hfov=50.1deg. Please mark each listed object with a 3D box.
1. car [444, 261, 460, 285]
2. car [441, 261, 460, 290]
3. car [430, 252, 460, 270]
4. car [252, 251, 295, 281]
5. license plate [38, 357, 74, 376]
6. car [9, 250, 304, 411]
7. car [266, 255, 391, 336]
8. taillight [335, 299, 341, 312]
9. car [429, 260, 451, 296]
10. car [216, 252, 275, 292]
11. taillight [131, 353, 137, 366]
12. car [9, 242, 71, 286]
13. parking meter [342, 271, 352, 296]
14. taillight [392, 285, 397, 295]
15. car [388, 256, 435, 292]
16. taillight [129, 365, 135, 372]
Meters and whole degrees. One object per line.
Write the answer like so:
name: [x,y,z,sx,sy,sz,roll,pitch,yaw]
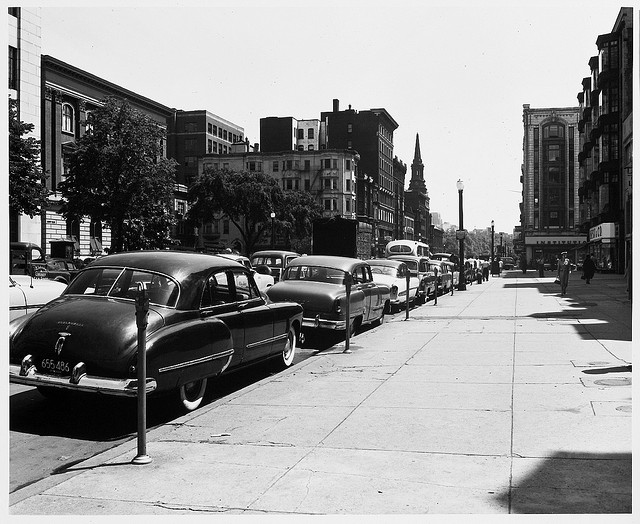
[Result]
car: [7.328,0.622,36.755,0.961,0.958,1.798,1,6,25]
car: [7.326,0.638,36.882,1.025,0.991,1.841,1,6,30]
car: [7.115,-0.059,38.927,1.151,1.098,2.117,3,6,32]
car: [-1.683,0.189,22.593,0.864,0.868,1.630,1,5,18]
license plate: [-2.949,1.178,7.757,0.490,0.149,0.039,-1,1,24]
car: [-2.044,0.839,9.183,1.799,2.016,3.651,-1,1,24]
car: [0.382,0.648,15.184,1.391,1.107,2.569,3,3,23]
taillight: [0.389,0.882,13.962,0.068,0.236,0.184,-1,1,32]
car: [5.519,0.666,30.873,0.851,0.995,2.409,-2,-3,18]
car: [-2.134,0.216,19.940,1.144,1.091,2.122,3,5,28]
taillight: [-2.025,1.100,7.674,0.071,0.154,0.081,-4,-13,32]
car: [-9.490,0.034,23.593,1.490,1.406,2.318,4,3,17]
parking meter: [0.580,0.424,12.662,0.139,0.401,0.279,2,6,-29]
taillight: [2.278,0.847,20.621,0.068,0.247,0.259,-1,1,30]
car: [3.675,0.383,26.034,1.113,0.964,1.917,0,3,21]
taillight: [-2.051,1.181,7.573,0.040,0.065,0.016,5,-4,-5]
